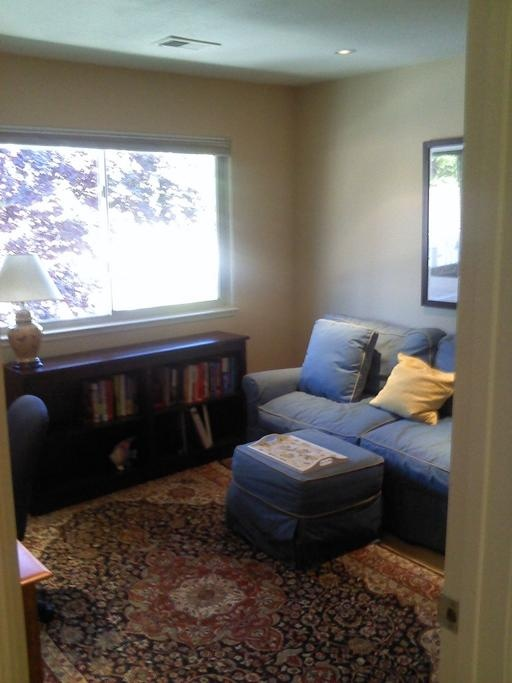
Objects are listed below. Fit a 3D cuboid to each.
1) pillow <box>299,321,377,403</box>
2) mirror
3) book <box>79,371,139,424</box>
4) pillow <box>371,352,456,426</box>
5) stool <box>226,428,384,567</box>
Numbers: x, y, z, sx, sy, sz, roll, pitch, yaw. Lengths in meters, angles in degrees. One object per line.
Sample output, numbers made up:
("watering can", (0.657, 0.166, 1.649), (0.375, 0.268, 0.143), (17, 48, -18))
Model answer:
("pillow", (0.595, 0.141, 3.741), (0.527, 0.498, 0.199), (11, -11, 44))
("mirror", (1.201, -0.750, 3.591), (0.087, 1.075, 0.303), (-8, 12, -30))
("book", (-0.900, 0.355, 3.448), (0.267, 0.331, 0.350), (-3, 7, -7))
("pillow", (0.951, 0.273, 3.316), (0.346, 0.336, 0.440), (-9, 13, -35))
("stool", (0.184, 0.753, 2.819), (0.579, 0.365, 0.565), (-7, 12, -36))
